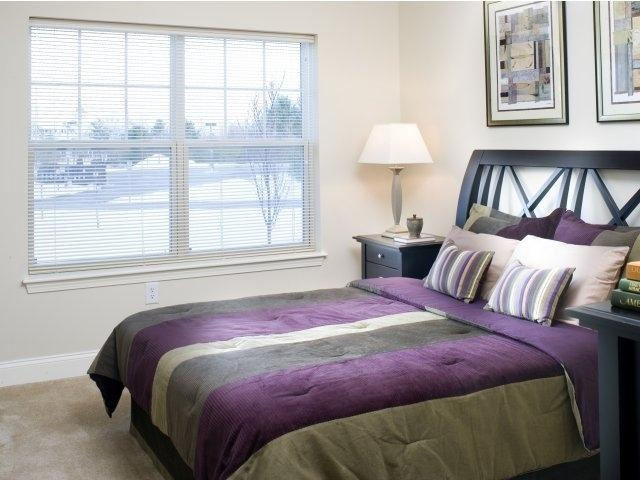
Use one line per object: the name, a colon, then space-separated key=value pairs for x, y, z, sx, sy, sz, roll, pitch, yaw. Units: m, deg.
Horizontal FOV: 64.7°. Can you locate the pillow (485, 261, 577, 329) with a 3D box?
pillow: x=1.091 y=0.262 z=2.624 sx=0.097 sy=0.289 sz=0.327 roll=31 pitch=-4 yaw=-18

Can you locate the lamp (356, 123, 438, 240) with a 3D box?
lamp: x=0.641 y=-0.473 z=4.211 sx=0.652 sy=0.883 sz=0.601 roll=0 pitch=1 yaw=40

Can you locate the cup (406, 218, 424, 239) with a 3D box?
cup: x=0.746 y=-0.100 z=4.020 sx=0.142 sy=0.178 sz=0.138 roll=0 pitch=1 yaw=0

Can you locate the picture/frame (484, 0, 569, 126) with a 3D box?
picture/frame: x=1.399 y=-1.236 z=3.460 sx=0.138 sy=0.898 sz=0.712 roll=-7 pitch=12 yaw=-22

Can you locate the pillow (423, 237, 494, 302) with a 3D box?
pillow: x=0.835 y=0.186 z=3.023 sx=0.092 sy=0.317 sz=0.308 roll=24 pitch=-1 yaw=-25
